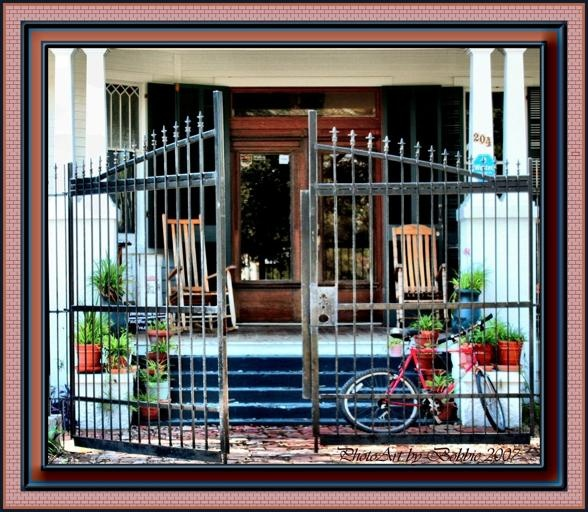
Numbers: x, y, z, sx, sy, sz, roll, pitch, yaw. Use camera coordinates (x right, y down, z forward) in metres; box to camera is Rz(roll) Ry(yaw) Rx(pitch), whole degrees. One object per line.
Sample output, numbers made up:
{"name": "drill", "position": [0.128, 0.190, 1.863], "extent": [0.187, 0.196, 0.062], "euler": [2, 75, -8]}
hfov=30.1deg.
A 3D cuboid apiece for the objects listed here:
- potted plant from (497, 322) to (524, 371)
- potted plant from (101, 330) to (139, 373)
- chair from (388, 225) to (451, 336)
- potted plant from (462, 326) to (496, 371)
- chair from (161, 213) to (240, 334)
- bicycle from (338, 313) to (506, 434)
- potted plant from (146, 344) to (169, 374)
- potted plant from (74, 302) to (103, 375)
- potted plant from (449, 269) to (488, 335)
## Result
{"name": "potted plant", "position": [1.973, 0.847, 9.881], "extent": [0.189, 0.303, 0.234], "euler": [-2, 3, 12]}
{"name": "potted plant", "position": [-1.595, 0.894, 9.895], "extent": [0.290, 0.334, 0.281], "euler": [4, 7, 16]}
{"name": "chair", "position": [1.401, 0.402, 12.485], "extent": [0.552, 1.234, 0.743], "euler": [2, -38, -3]}
{"name": "potted plant", "position": [1.666, 0.844, 9.774], "extent": [0.311, 0.366, 0.350], "euler": [-1, -7, 1]}
{"name": "chair", "position": [-1.115, 0.209, 12.132], "extent": [0.752, 1.532, 1.034], "euler": [-10, -3, 18]}
{"name": "bicycle", "position": [1.148, 1.043, 9.646], "extent": [1.537, 1.045, 1.518], "euler": [0, -1, -5]}
{"name": "potted plant", "position": [-1.248, 0.965, 9.922], "extent": [0.272, 0.358, 0.304], "euler": [0, -5, -5]}
{"name": "potted plant", "position": [-1.849, 0.789, 9.843], "extent": [0.238, 0.560, 0.440], "euler": [0, -1, -12]}
{"name": "potted plant", "position": [1.640, 0.409, 10.166], "extent": [0.265, 0.647, 0.295], "euler": [3, 5, 21]}
